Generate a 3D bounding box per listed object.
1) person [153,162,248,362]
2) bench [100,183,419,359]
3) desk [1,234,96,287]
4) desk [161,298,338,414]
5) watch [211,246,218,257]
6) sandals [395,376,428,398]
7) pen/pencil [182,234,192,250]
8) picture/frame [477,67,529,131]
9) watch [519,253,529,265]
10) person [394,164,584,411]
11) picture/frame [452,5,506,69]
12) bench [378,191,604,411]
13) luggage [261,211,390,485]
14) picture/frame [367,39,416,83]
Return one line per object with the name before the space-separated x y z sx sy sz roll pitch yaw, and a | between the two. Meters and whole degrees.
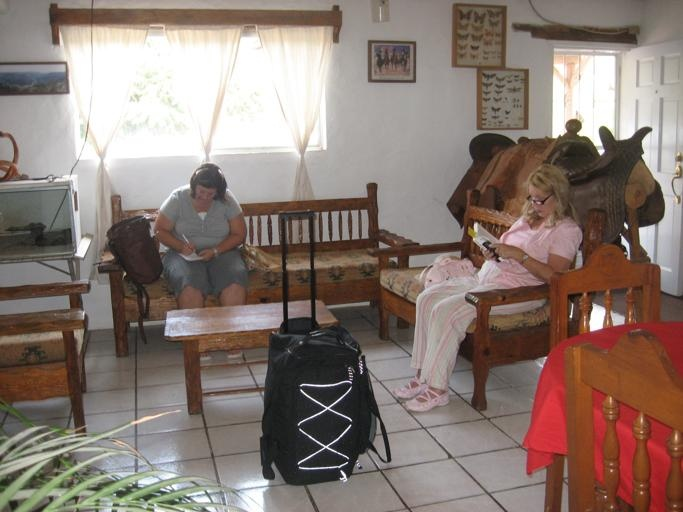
person | -1.016 0.069 4.152 0.603 1.448 0.684 -1 3 -15
bench | -0.473 0.557 4.875 3.109 1.660 1.211 -5 12 -18
desk | -2.164 0.067 4.211 0.538 0.361 0.720 -5 15 -16
desk | -0.556 0.607 3.405 0.961 0.520 0.555 -2 14 -17
watch | -0.922 -0.029 4.088 0.036 0.059 0.054 3 13 -6
sandals | 0.427 0.790 3.362 0.229 0.091 0.083 -3 3 -44
pen/pencil | -1.123 -0.104 4.057 0.017 0.127 0.015 -29 -21 9
picture/frame | 1.514 -1.479 5.260 0.537 0.569 0.041 -5 14 -13
watch | 1.034 0.017 3.173 0.034 0.050 0.054 11 42 19
person | 0.868 0.166 3.360 1.000 1.373 0.574 -1 7 -9
picture/frame | 1.251 -2.017 5.104 0.525 0.552 0.061 -4 14 -13
bench | 0.801 0.313 3.702 0.981 1.359 1.195 -1 13 -18
luggage | -0.102 0.420 2.610 0.597 1.241 0.433 -3 14 -9
picture/frame | 0.438 -1.728 4.949 0.434 0.351 0.051 -4 14 -11
